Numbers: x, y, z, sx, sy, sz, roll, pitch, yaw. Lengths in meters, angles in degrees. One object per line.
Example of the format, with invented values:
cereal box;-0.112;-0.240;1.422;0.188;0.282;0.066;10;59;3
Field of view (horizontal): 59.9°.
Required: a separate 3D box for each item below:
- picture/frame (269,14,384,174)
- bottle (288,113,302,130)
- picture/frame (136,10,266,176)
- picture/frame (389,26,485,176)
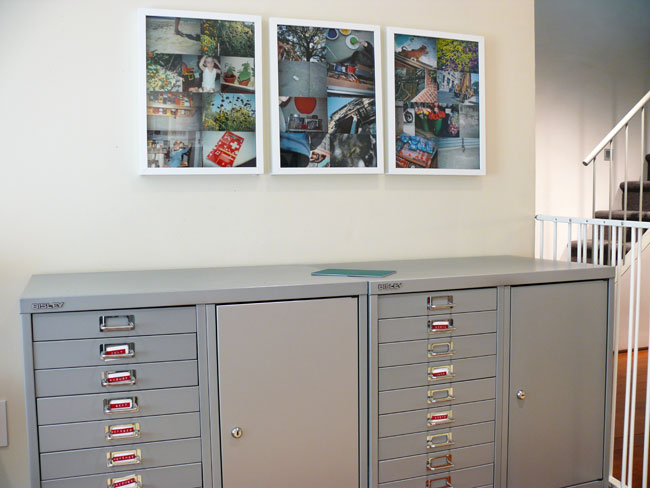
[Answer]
picture/frame;-0.014;-0.704;2.617;0.731;0.902;0.051;-2;3;-13
bottle;-0.136;-0.560;2.588;0.063;0.070;0.005;-3;3;-17
picture/frame;-0.570;-0.676;2.484;0.735;0.975;0.041;0;1;-14
picture/frame;0.527;-0.708;2.761;0.720;0.887;0.037;-1;3;-16
